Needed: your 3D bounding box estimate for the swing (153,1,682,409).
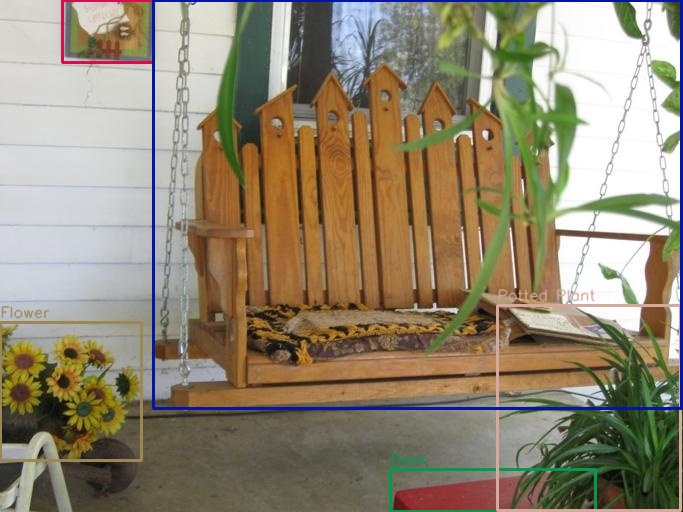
[{"bbox_3d":[0.164,-0.222,2.574,2.675,1.545,0.908,0,1,-16],"label":"swing"}]
